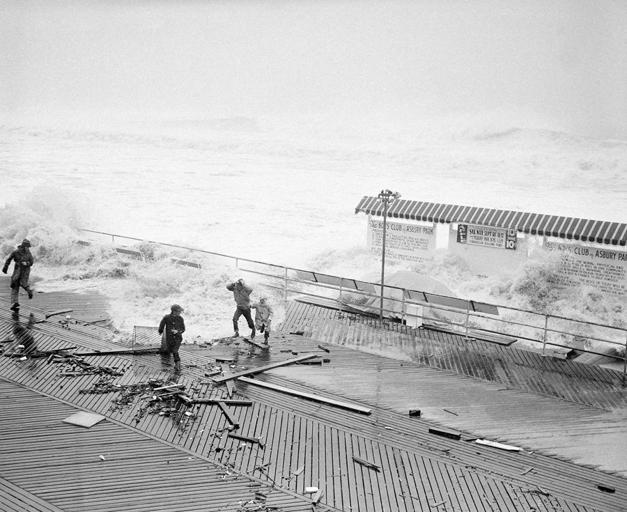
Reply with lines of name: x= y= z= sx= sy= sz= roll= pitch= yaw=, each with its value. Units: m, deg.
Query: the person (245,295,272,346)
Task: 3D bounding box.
person: x=-1.264 y=1.621 z=16.968 sx=0.455 sy=1.178 sz=0.724 roll=-8 pitch=17 yaw=-44

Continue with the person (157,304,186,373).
person: x=-3.245 y=1.749 z=15.302 sx=0.558 sy=1.444 sz=1.143 roll=1 pitch=12 yaw=-12

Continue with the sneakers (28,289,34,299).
sneakers: x=-8.010 y=1.087 z=19.051 sx=0.117 sy=0.352 sz=0.149 roll=-2 pitch=19 yaw=-20
